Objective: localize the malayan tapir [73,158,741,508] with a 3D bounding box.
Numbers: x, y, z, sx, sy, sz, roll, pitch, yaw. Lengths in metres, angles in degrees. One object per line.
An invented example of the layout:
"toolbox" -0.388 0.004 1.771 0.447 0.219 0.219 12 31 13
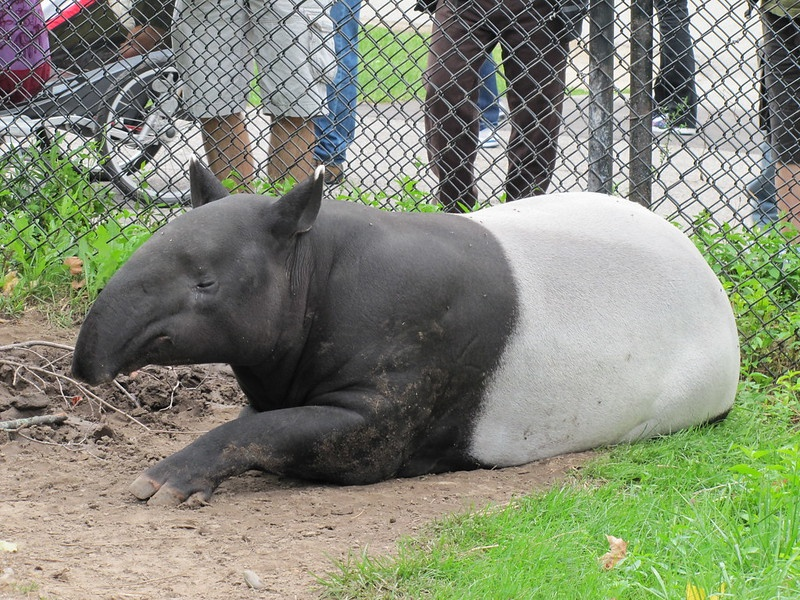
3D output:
"malayan tapir" -0.037 -0.003 3.709 2.318 0.989 1.151 -5 13 -21
